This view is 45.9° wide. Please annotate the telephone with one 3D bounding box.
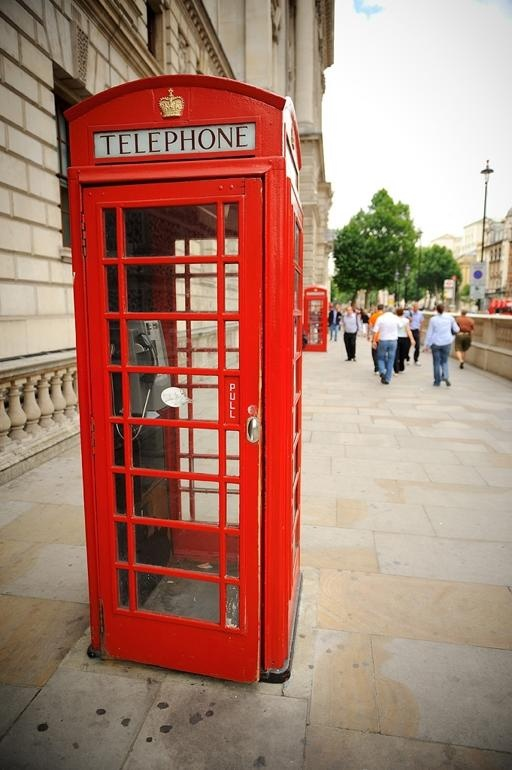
[{"bbox_3d":[-0.528,-0.071,2.763,0.274,0.455,0.102,0,8,-4],"label":"telephone"}]
